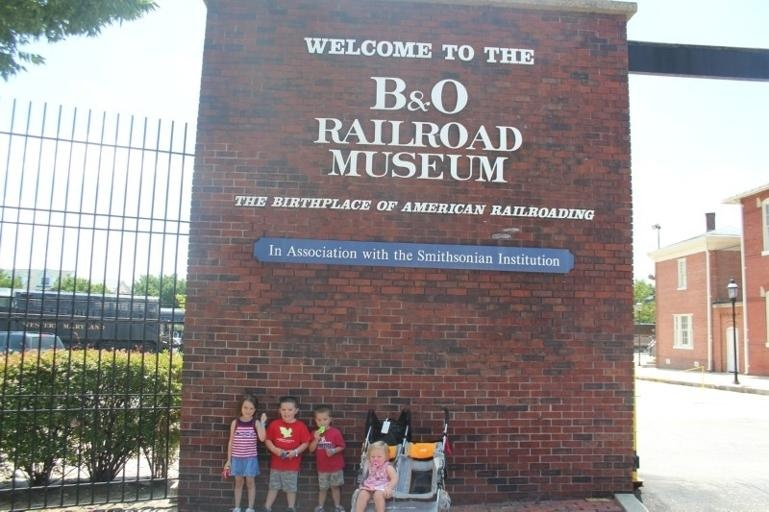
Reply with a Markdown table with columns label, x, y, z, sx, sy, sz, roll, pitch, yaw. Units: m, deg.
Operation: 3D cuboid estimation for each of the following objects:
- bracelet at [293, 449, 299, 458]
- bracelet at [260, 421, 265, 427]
| label | x | y | z | sx | sy | sz | roll | pitch | yaw |
| --- | --- | --- | --- | --- | --- | --- | --- | --- | --- |
| bracelet | -1.419 | 3.142 | 13.114 | 0.088 | 0.112 | 0.034 | 2 | 5 | -24 |
| bracelet | -1.971 | 2.709 | 13.295 | 0.072 | 0.076 | 0.069 | 1 | 2 | -3 |
